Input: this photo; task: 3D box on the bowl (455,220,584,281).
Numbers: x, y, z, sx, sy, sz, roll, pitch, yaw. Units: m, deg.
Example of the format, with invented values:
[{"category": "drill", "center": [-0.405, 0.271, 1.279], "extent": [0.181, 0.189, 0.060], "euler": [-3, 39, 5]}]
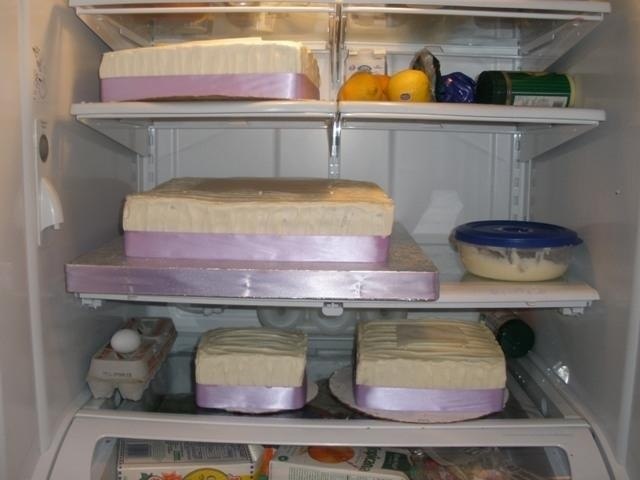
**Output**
[{"category": "bowl", "center": [0.465, 0.024, 1.456], "extent": [0.184, 0.066, 0.186], "euler": [-2, 12, 1]}]

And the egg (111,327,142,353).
[{"category": "egg", "center": [-0.474, 0.245, 1.512], "extent": [0.052, 0.051, 0.065], "euler": [16, 5, 2]}]
